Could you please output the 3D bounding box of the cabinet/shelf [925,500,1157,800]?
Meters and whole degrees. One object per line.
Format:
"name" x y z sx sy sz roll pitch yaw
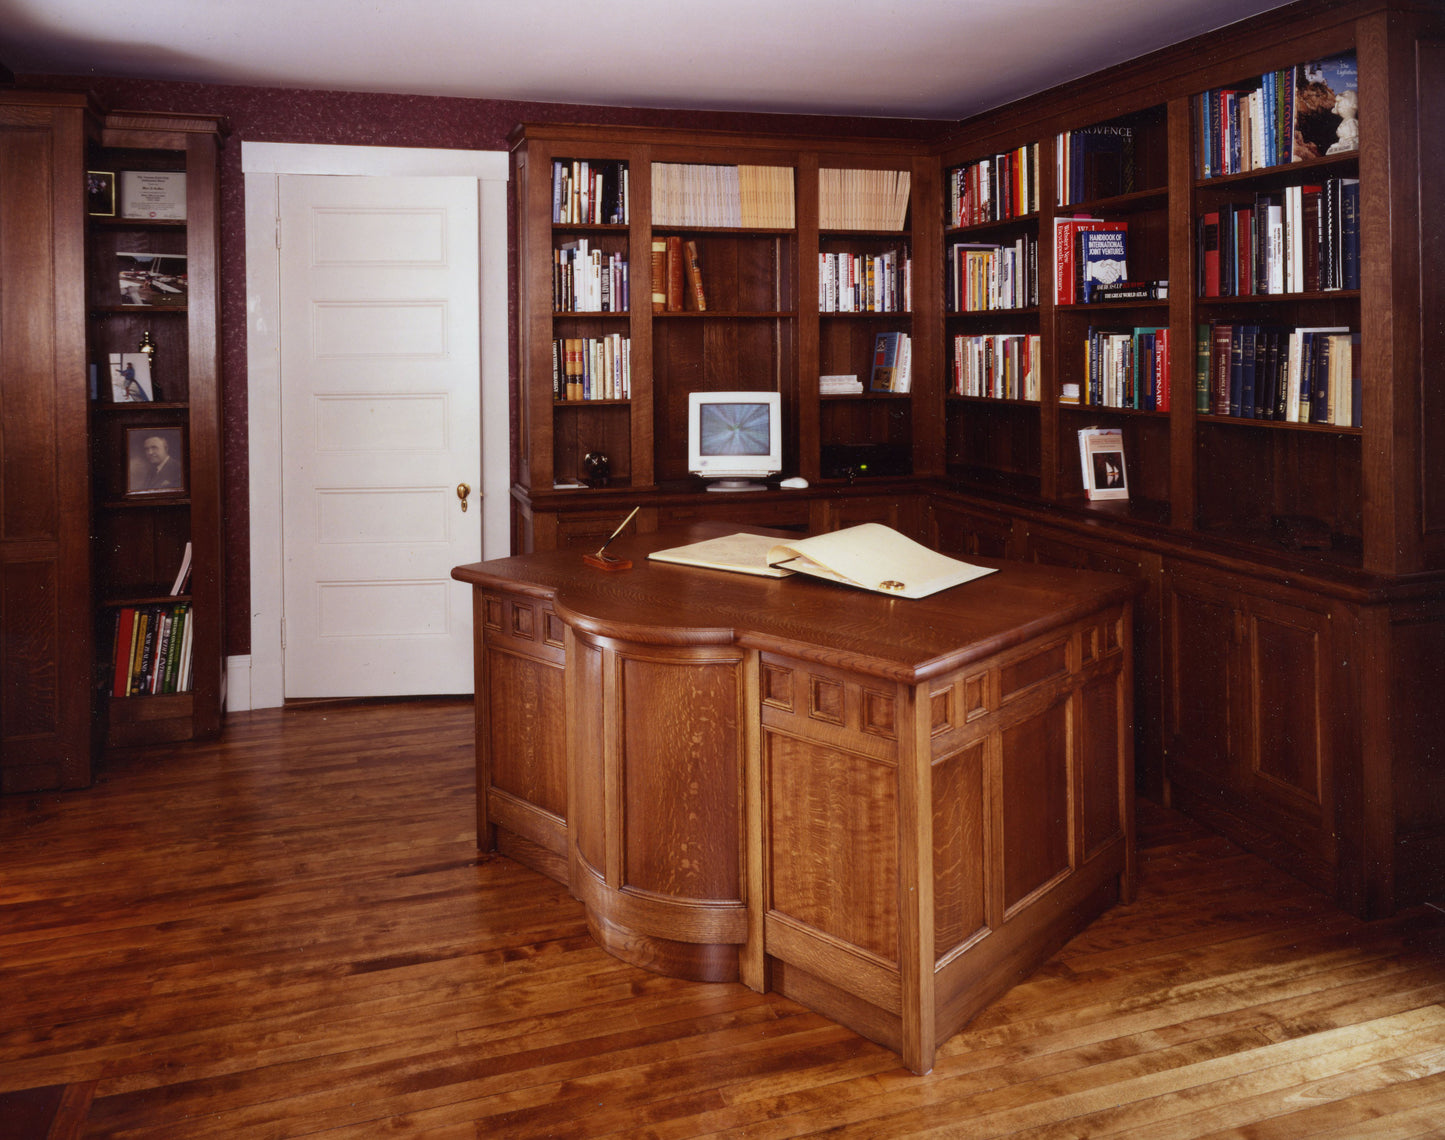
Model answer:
"cabinet/shelf" 0.996 0.260 3.484 0.323 0.969 0.993 -3 8 -18

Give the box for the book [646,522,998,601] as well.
"book" 0.256 -0.038 3.510 0.734 0.086 0.413 13 14 38

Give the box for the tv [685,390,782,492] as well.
"tv" 0.068 -0.698 5.789 0.453 0.476 0.266 -2 25 0

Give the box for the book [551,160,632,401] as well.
"book" -0.625 -1.368 5.558 0.391 1.110 0.273 -3 10 -8

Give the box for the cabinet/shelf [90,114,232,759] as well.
"cabinet/shelf" -2.525 -0.851 5.111 0.525 2.290 0.307 -1 -1 -30

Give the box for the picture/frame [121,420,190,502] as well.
"picture/frame" -2.552 -0.474 5.213 0.338 0.496 0.048 -1 2 -11

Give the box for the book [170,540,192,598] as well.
"book" -2.429 -0.002 5.225 0.034 0.298 0.222 17 -5 -26
